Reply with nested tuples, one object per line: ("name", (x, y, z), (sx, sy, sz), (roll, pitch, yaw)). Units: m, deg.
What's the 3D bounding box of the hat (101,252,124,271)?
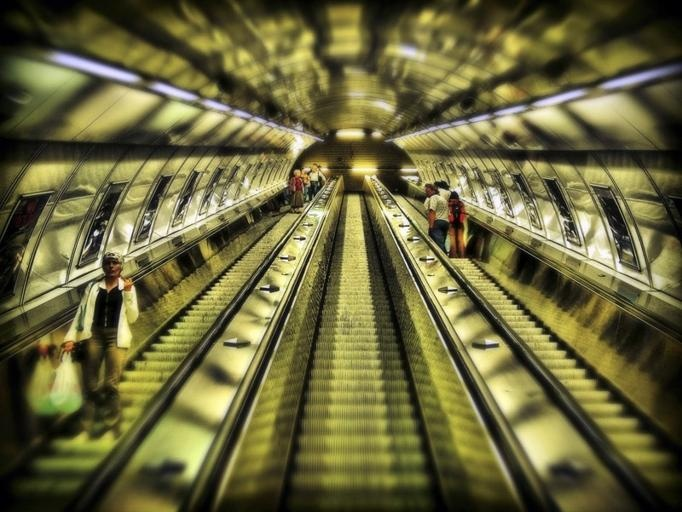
("hat", (-2.491, 0.034, 4.148), (0.170, 0.123, 0.207), (3, -39, -9))
